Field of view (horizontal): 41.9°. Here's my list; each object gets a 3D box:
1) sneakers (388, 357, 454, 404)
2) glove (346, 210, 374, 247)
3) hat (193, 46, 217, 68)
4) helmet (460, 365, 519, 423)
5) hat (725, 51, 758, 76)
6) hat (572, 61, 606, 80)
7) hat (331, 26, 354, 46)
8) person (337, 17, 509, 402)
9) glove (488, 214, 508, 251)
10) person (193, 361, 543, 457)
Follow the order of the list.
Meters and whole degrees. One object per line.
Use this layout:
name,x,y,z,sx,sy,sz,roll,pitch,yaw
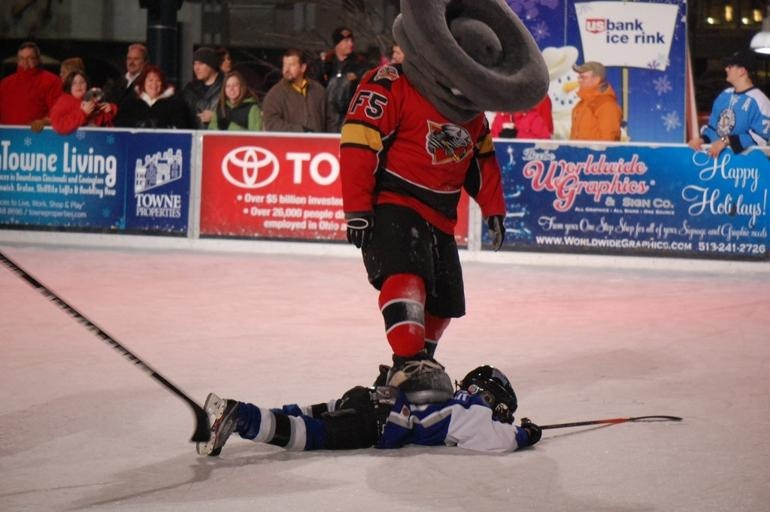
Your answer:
sneakers,0.266,0.833,6.722,0.273,0.212,0.367,0,-9,-5
glove,-0.175,-0.192,7.070,0.199,0.252,0.154,2,2,10
hat,-2.332,-2.623,13.244,0.313,0.272,0.257,1,2,-8
helmet,0.725,0.882,6.933,0.383,0.382,0.320,25,-5,-15
hat,4.481,-2.436,12.604,0.344,0.210,0.266,8,17,15
hat,2.747,-2.497,13.454,0.376,0.158,0.247,10,11,5
hat,-0.508,-2.946,13.405,0.301,0.293,0.266,5,14,-27
person,0.335,-0.400,7.132,1.188,2.593,0.717,0,2,-32
glove,0.856,-0.143,7.711,0.102,0.349,0.137,-5,19,17
person,-0.104,1.046,6.667,1.557,0.523,0.917,0,-2,-13
